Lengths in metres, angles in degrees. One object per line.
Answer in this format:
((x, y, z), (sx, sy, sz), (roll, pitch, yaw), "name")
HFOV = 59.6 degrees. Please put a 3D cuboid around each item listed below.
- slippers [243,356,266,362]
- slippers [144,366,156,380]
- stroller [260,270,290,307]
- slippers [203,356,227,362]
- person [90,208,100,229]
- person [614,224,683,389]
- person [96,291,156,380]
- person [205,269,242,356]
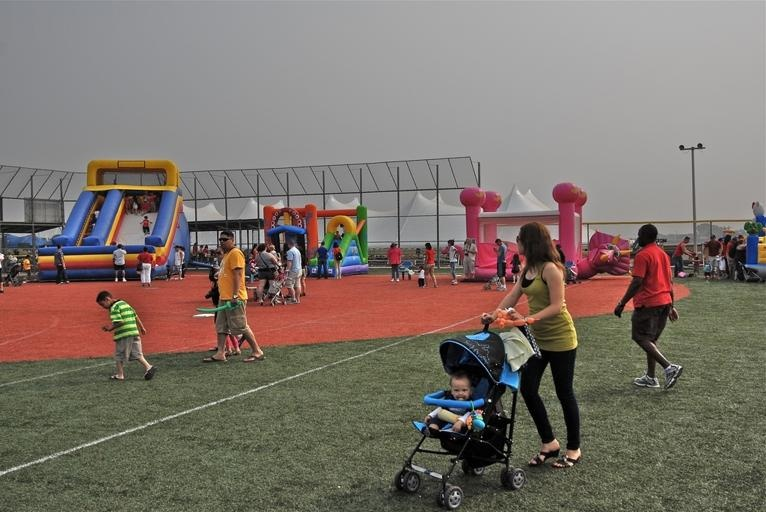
((-2.244, 1.782, 11.595), (0.320, 0.091, 0.130), (7, -10, -32), "slippers")
((-3.653, 1.820, 10.431), (0.100, 0.239, 0.111), (17, -13, 15), "slippers")
((-3.231, 0.951, 19.877), (0.760, 1.370, 0.938), (-1, -3, 28), "stroller")
((-2.906, 1.782, 11.508), (0.363, 0.106, 0.145), (2, -7, -6), "slippers")
((-15.846, -2.009, 36.685), (0.259, 1.162, 0.597), (7, -19, -8), "person")
((3.749, 0.706, 9.459), (0.878, 2.302, 0.647), (0, 9, 6), "person")
((-4.152, 1.220, 10.787), (0.738, 1.474, 1.419), (-5, 10, -23), "person")
((-2.880, 1.051, 12.065), (0.663, 2.324, 0.716), (4, -21, -19), "person")
